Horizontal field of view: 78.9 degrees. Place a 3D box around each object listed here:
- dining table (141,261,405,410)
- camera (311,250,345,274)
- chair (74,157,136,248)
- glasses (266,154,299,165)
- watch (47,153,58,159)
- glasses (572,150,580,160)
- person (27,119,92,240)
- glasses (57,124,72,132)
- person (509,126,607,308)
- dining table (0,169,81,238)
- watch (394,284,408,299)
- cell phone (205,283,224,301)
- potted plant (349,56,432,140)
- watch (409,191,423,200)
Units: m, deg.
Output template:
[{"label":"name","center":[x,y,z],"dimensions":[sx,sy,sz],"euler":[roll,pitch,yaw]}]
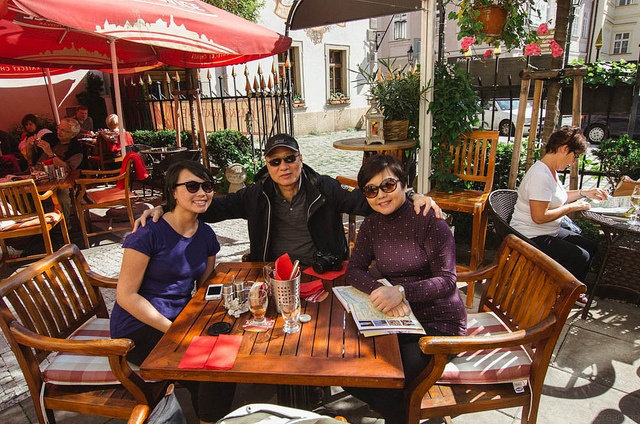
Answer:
[{"label":"dining table","center":[-0.249,0.677,2.832],"dimensions":[0.961,0.911,0.956],"euler":[1,28,5]},{"label":"camera","center":[0.056,0.447,3.423],"dimensions":[0.225,0.133,0.171],"euler":[4,10,43]},{"label":"chair","center":[-3.795,-0.153,6.851],"dimensions":[1.093,1.641,1.178],"euler":[-4,26,-27]},{"label":"glasses","center":[-0.343,-0.485,3.642],"dimensions":[0.269,0.100,0.055],"euler":[-7,14,-12]},{"label":"watch","center":[-4.701,-1.002,6.838],"dimensions":[0.115,0.077,0.117],"euler":[-5,14,-3]},{"label":"glasses","center":[2.775,-0.632,4.224],"dimensions":[0.079,0.081,0.024],"euler":[4,2,2]},{"label":"person","center":[-4.802,-0.784,7.236],"dimensions":[0.839,1.800,0.883],"euler":[23,22,27]},{"label":"glasses","center":[-4.522,-1.506,6.903],"dimensions":[0.164,0.134,0.166],"euler":[-31,14,16]},{"label":"person","center":[2.755,0.081,4.545],"dimensions":[1.120,2.038,0.905],"euler":[9,16,20]},{"label":"dining table","center":[-4.227,-0.200,6.448],"dimensions":[1.006,0.743,0.954],"euler":[1,35,-3]},{"label":"watch","center":[0.620,0.607,2.997],"dimensions":[0.074,0.033,0.097],"euler":[-1,42,-38]},{"label":"cell phone","center":[-0.852,0.647,3.141],"dimensions":[0.127,0.033,0.127],"euler":[4,38,0]},{"label":"potted plant","center":[1.232,-1.771,6.150],"dimensions":[1.228,1.245,1.162],"euler":[9,21,35]},{"label":"watch","center":[0.818,-0.140,3.376],"dimensions":[0.080,0.043,0.110],"euler":[9,12,35]}]
